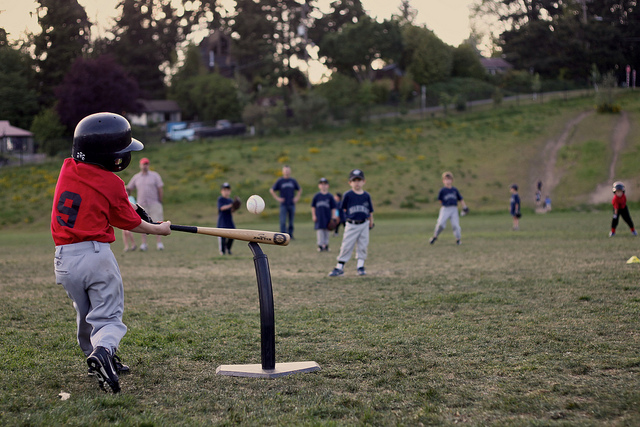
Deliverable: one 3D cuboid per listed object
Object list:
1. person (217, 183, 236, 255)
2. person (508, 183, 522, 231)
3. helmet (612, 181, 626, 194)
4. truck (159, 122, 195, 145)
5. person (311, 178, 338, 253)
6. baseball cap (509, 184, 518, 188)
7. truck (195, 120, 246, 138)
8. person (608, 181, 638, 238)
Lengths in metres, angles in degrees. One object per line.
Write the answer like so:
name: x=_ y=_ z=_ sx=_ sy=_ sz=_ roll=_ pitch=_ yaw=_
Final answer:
person: x=-3.540 y=0.162 z=45.500 sx=1.108 sy=2.766 sz=0.820 roll=-2 pitch=-2 yaw=18
person: x=6.925 y=-0.255 z=42.141 sx=0.427 sy=1.596 sz=0.568 roll=-2 pitch=2 yaw=8
helmet: x=10.562 y=-0.918 z=41.932 sx=0.322 sy=0.377 sz=0.351 roll=4 pitch=25 yaw=12
truck: x=-9.374 y=-4.985 z=76.786 sx=2.881 sy=1.155 sz=1.668 roll=-1 pitch=10 yaw=15
person: x=0.201 y=0.086 z=45.873 sx=1.211 sy=2.804 sz=0.856 roll=7 pitch=17 yaw=27
baseball cap: x=6.855 y=-0.968 z=41.993 sx=0.241 sy=0.115 sz=0.078 roll=-1 pitch=2 yaw=9
truck: x=-6.300 y=-5.462 z=75.780 sx=2.947 sy=0.955 sz=1.346 roll=-2 pitch=3 yaw=-8
person: x=10.735 y=-0.240 z=42.521 sx=1.049 sy=2.194 sz=0.866 roll=-1 pitch=4 yaw=-21
